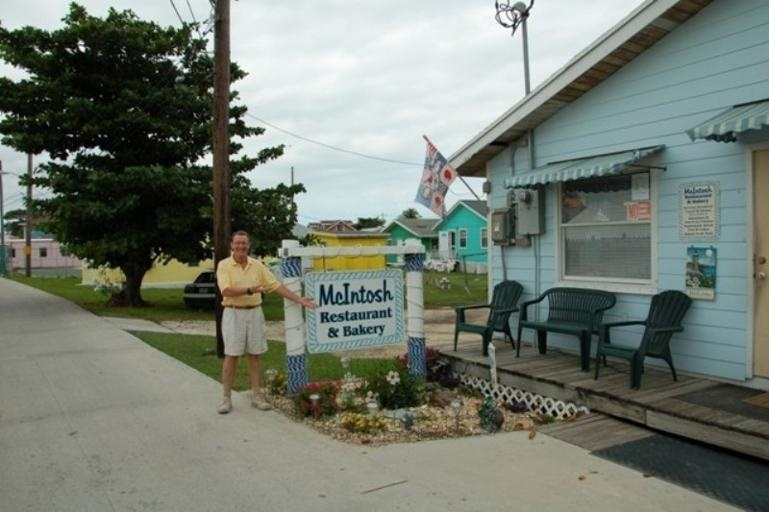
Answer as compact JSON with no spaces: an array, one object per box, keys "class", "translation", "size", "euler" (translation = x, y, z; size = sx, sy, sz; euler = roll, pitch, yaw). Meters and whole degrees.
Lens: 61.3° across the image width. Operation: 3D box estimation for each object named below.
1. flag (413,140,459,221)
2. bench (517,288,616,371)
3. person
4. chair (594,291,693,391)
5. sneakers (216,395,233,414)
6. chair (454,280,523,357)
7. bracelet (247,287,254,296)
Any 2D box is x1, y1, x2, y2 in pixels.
[{"class":"flag","translation":[0.990,-1.544,12.766],"size":[0.672,1.569,0.647],"euler":[13,20,43]},{"class":"bench","translation":[3.054,1.148,10.878],"size":[1.032,1.170,1.495],"euler":[-3,4,-33]},{"class":"person","translation":[-1.991,0.972,9.778],"size":[1.184,2.684,0.750],"euler":[-5,15,-16]},{"class":"chair","translation":[3.921,1.192,9.790],"size":[1.340,1.215,0.965],"euler":[-4,5,-30]},{"class":"sneakers","translation":[-2.394,2.189,9.694],"size":[0.214,0.231,0.279],"euler":[-5,15,-15]},{"class":"chair","translation":[1.933,1.112,11.723],"size":[1.218,1.090,0.903],"euler":[-4,5,-40]},{"class":"bracelet","translation":[-1.956,0.514,9.468],"size":[0.104,0.096,0.067],"euler":[3,18,-26]}]
